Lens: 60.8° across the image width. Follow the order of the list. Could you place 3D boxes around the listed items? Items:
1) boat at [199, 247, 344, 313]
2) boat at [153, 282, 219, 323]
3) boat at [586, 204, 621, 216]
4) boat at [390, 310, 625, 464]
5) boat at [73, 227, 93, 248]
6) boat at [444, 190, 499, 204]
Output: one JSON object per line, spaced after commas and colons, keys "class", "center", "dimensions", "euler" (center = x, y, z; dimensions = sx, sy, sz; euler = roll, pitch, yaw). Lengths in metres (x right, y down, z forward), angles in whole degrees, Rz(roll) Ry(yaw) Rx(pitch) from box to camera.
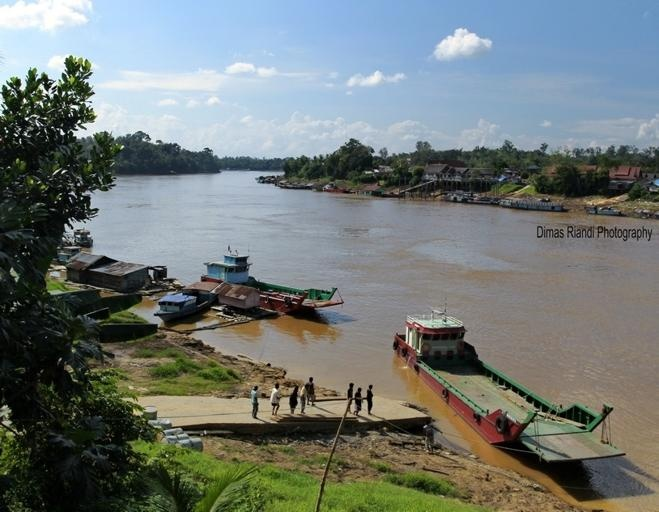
{"class": "boat", "center": [-3.993, 2.409, 37.920], "dimensions": [11.320, 3.681, 4.000], "euler": [12, 13, 39]}
{"class": "boat", "center": [-8.840, 2.775, 35.137], "dimensions": [1.961, 1.040, 3.810], "euler": [12, 20, 19]}
{"class": "boat", "center": [46.820, -7.832, 97.169], "dimensions": [6.970, 1.656, 1.905], "euler": [9, 11, 35]}
{"class": "boat", "center": [6.455, 5.414, 21.731], "dimensions": [3.170, 2.100, 8.970], "euler": [-1, 9, -20]}
{"class": "boat", "center": [-24.972, -1.875, 56.585], "dimensions": [1.670, 2.039, 3.142], "euler": [-5, 12, -25]}
{"class": "boat", "center": [31.654, -12.826, 125.711], "dimensions": [6.580, 2.030, 15.918], "euler": [-2, 11, -13]}
